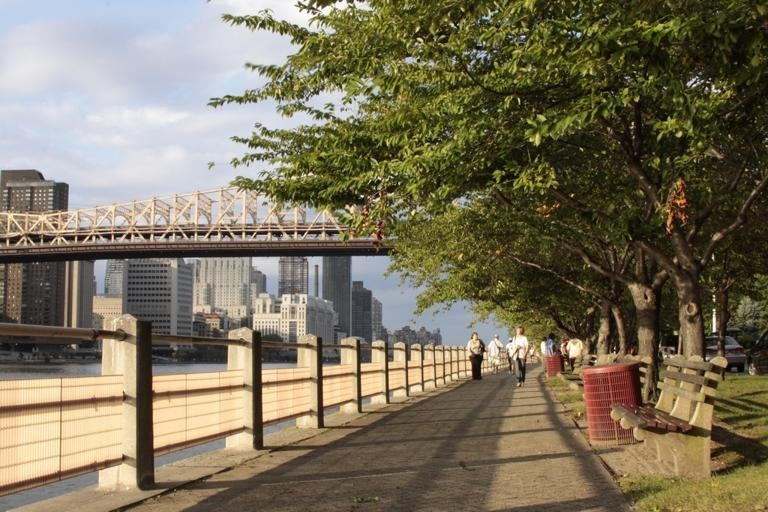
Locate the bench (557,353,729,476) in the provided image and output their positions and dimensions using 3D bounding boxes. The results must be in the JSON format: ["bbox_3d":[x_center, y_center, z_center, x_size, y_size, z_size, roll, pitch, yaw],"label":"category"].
[{"bbox_3d":[3.921,2.296,13.386,1.697,1.621,2.159,-4,-6,8],"label":"bench"}]

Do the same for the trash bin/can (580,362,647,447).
[{"bbox_3d":[3.619,2.388,14.996,1.110,1.230,1.144,-5,-3,15],"label":"trash bin/can"}]

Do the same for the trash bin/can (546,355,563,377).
[{"bbox_3d":[6.127,3.997,33.566,0.755,0.804,0.782,-5,-7,31],"label":"trash bin/can"}]
